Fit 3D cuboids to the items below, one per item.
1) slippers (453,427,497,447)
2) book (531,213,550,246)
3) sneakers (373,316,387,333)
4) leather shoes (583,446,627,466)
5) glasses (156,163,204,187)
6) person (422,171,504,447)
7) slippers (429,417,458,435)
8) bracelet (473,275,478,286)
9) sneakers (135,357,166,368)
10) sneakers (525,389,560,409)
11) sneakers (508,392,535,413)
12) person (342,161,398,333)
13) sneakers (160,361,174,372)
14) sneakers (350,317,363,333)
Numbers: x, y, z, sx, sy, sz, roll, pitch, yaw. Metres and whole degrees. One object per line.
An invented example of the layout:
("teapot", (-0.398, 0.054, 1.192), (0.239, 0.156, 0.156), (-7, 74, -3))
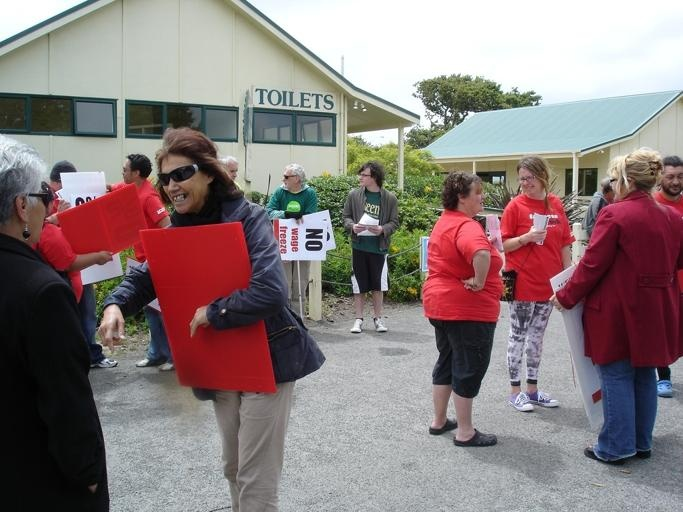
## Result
("slippers", (1.152, 1.563, 4.384), (0.283, 0.116, 0.161), (-3, -4, -2))
("book", (1.933, -0.265, 4.938), (0.156, 0.312, 0.309), (3, 8, 20))
("sneakers", (0.628, 1.056, 8.031), (0.202, 0.208, 0.201), (0, 7, 2))
("leather shoes", (2.122, 1.596, 4.110), (0.301, 0.132, 0.104), (-10, 0, 44))
("glasses", (-0.830, -0.416, 2.566), (0.199, 0.108, 0.076), (2, 7, 10))
("person", (1.030, 0.437, 4.354), (0.675, 2.325, 0.472), (3, 8, 24))
("slippers", (0.940, 1.516, 4.632), (0.308, 0.124, 0.111), (-10, 7, -42))
("bracelet", (1.084, 0.193, 4.117), (0.022, 0.082, 0.068), (-1, 7, -12))
("sneakers", (-2.392, 1.315, 6.348), (0.373, 0.141, 0.139), (5, -6, -16))
("sneakers", (2.053, 1.443, 5.206), (0.375, 0.154, 0.141), (1, 3, 9))
("sneakers", (1.838, 1.439, 5.118), (0.244, 0.156, 0.209), (1, 7, 3))
("person", (0.464, -0.187, 8.089), (0.870, 2.666, 0.641), (0, 7, -1))
("sneakers", (-2.115, 1.304, 6.167), (0.143, 0.096, 0.263), (0, -11, 2))
("sneakers", (0.237, 1.085, 8.108), (0.181, 0.204, 0.500), (-2, -6, 6))
